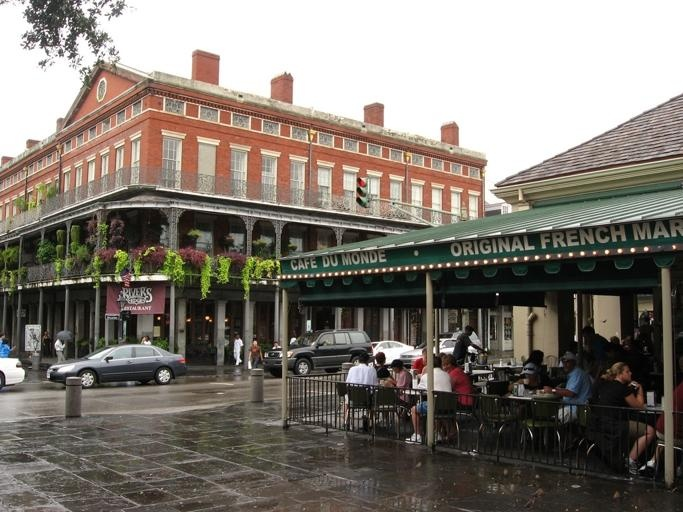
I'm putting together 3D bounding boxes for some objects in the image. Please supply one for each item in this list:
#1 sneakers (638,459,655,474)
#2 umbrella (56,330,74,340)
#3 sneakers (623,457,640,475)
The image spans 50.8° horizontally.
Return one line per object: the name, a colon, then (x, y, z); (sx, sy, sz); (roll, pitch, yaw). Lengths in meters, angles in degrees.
sneakers: (4.876, 3.392, 11.448); (0.219, 0.264, 0.355); (-2, -1, 20)
umbrella: (-13.247, 3.829, 34.683); (1.042, 0.377, 1.039); (-2, 0, -7)
sneakers: (4.692, 3.388, 11.607); (0.195, 0.246, 0.127); (-1, -1, 12)
